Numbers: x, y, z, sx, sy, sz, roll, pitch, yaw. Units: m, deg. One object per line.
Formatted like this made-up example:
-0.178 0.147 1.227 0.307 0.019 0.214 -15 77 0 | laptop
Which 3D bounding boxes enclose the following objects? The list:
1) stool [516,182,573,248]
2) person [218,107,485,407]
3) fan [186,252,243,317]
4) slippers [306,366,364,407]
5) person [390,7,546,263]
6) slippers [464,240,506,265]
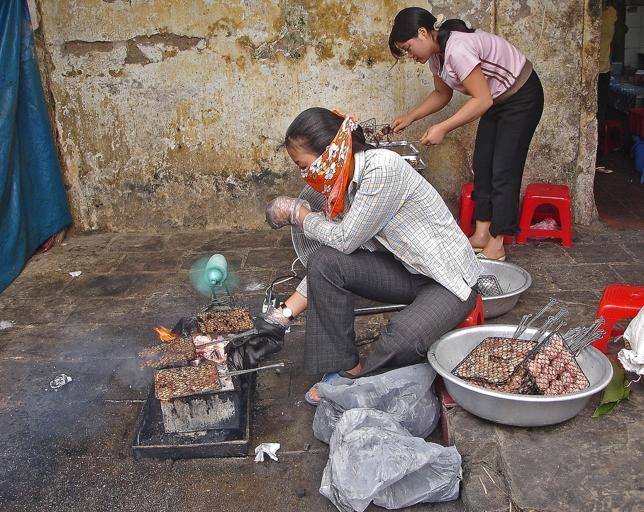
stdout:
1.977 -0.369 5.096 0.547 0.552 0.592 3 30 12 | stool
0.259 -0.047 3.021 1.081 1.411 0.542 0 22 11 | person
-0.803 0.131 4.236 0.389 0.517 0.403 -8 23 -31 | fan
0.075 0.685 2.997 0.271 0.152 0.313 18 19 38 | slippers
0.978 -0.677 4.521 0.952 2.203 1.129 -11 16 -36 | person
1.171 -0.018 4.095 0.325 0.218 0.133 6 9 -10 | slippers
